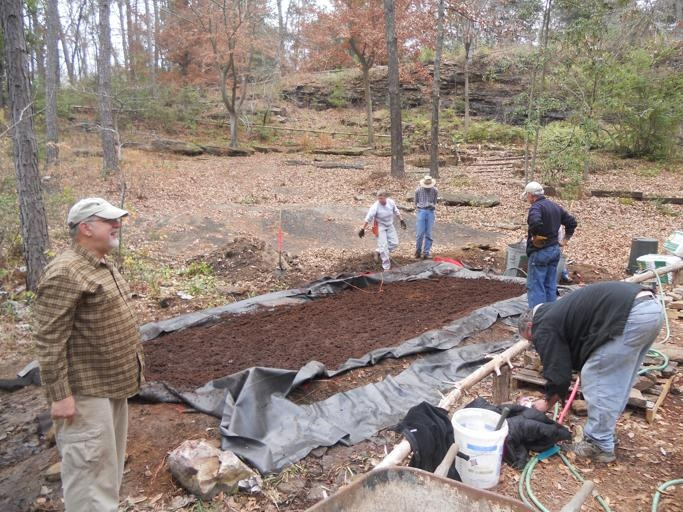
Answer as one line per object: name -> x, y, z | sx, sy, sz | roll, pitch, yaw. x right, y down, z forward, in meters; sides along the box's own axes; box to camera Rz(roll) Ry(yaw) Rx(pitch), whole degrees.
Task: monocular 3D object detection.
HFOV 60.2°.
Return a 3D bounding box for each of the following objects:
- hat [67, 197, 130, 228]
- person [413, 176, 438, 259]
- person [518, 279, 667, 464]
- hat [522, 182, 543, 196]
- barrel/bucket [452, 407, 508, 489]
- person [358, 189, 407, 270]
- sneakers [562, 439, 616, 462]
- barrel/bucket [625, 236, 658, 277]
hat -> -2.450, -0.442, 5.922 | 0.498, 0.187, 0.299 | -6, 13, -18
person -> 1.840, -0.891, 12.989 | 0.433, 1.750, 1.122 | 1, 13, 7
person -> 2.652, 1.234, 6.309 | 1.291, 1.905, 0.525 | 4, 14, 19
hat -> 3.056, -1.073, 9.432 | 0.334, 0.224, 0.423 | -3, 19, 0
barrel/bucket -> 1.425, 2.032, 6.082 | 0.600, 0.577, 0.556 | -1, 0, 0
person -> 0.855, -0.582, 12.137 | 0.831, 1.629, 1.400 | 1, 12, 6
sneakers -> 2.657, 2.108, 6.401 | 0.554, 0.241, 0.199 | 10, 9, 14
barrel/bucket -> 5.875, 0.016, 11.521 | 0.493, 0.689, 0.541 | -1, 13, 0
